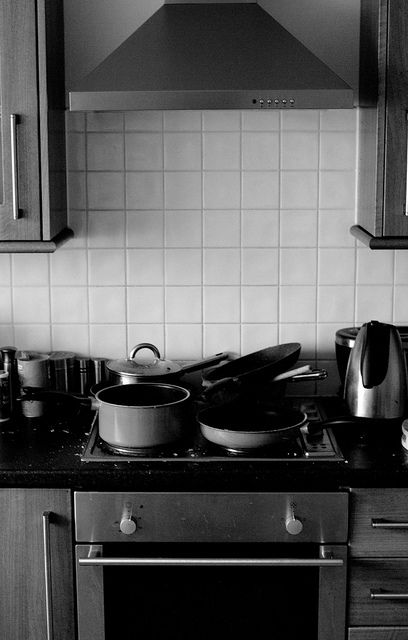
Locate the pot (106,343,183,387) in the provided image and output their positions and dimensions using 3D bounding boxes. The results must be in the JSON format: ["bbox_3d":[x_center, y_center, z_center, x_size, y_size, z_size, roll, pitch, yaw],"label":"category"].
[{"bbox_3d":[-0.157,0.119,1.848,0.163,0.140,0.265,-1,13,-6],"label":"pot"}]
